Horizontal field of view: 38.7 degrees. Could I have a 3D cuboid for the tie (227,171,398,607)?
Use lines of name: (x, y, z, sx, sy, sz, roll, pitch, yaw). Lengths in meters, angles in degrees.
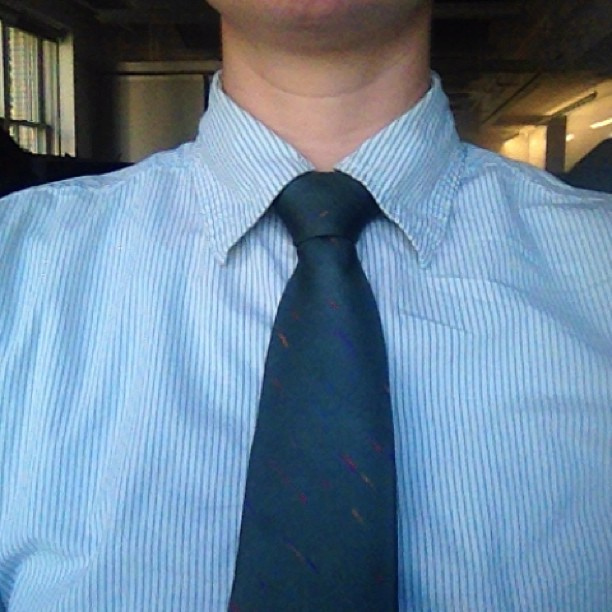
tie: (0.010, 0.062, 0.753, 0.136, 0.067, 0.385, 2, 66, 7)
